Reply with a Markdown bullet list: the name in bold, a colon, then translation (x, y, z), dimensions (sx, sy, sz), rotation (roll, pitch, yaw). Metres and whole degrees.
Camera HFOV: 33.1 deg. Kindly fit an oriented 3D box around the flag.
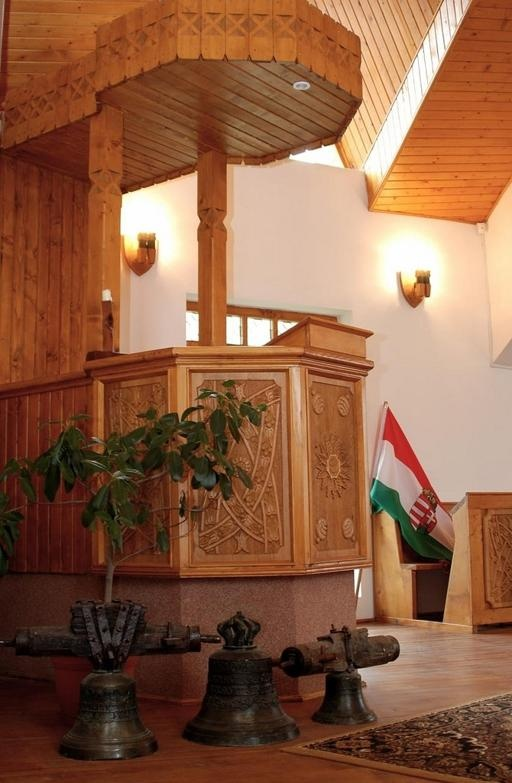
- **flag**: translation (1.369, 0.794, 7.612), dimensions (0.697, 1.372, 0.459), rotation (-1, -7, 10)
